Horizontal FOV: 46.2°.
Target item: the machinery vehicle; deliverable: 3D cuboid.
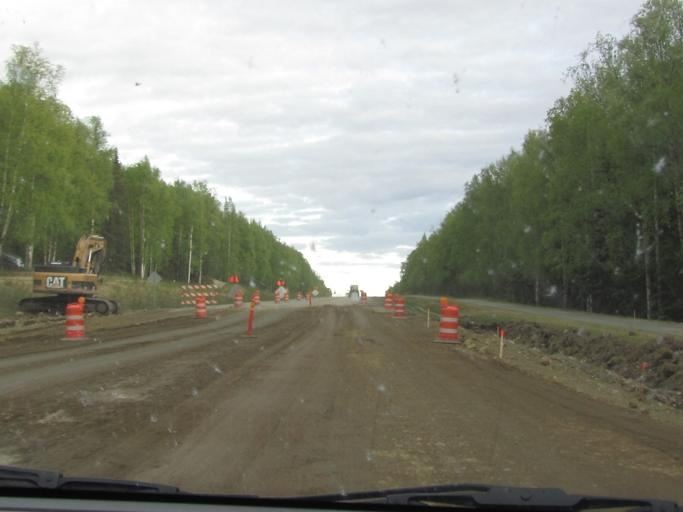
[{"bbox_3d":[-14.471,1.056,42.060,4.799,4.956,3.907,4,-18,-22],"label":"machinery vehicle"}]
